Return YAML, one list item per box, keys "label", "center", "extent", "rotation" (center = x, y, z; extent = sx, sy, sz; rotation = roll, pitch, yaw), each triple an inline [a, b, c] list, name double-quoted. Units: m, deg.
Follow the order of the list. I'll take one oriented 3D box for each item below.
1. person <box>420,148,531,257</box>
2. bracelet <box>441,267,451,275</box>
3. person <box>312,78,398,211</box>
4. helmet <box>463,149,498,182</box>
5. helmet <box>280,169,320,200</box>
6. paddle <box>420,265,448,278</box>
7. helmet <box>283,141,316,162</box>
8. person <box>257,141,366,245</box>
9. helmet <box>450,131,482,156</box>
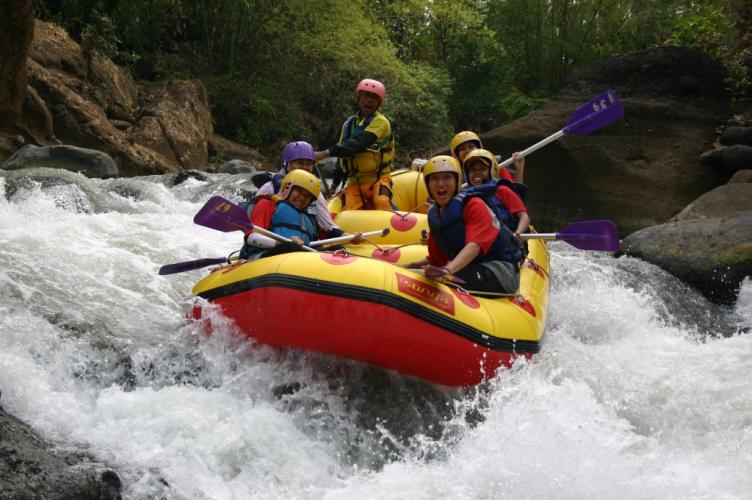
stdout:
- label: "person"
  center: [1.152, -0.605, 9.234]
  extent: [0.977, 0.605, 1.393]
  rotation: [-3, 43, 2]
- label: "bracelet"
  center: [0.729, 0.225, 8.519]
  extent: [0.093, 0.067, 0.117]
  rotation: [18, 22, 24]
- label: "person"
  center: [-0.216, -1.050, 10.910]
  extent: [1.035, 2.378, 0.937]
  rotation: [-5, -8, 23]
- label: "helmet"
  center: [1.217, -1.004, 9.487]
  extent: [0.309, 0.322, 0.432]
  rotation: [0, 4, 18]
- label: "helmet"
  center: [-0.862, -0.755, 9.346]
  extent: [0.407, 0.311, 0.310]
  rotation: [16, -7, 34]
- label: "paddle"
  center: [0.611, 0.233, 8.571]
  extent: [0.276, 0.114, 0.102]
  rotation: [4, 24, 26]
- label: "helmet"
  center: [-0.983, -1.210, 9.931]
  extent: [0.316, 0.301, 0.244]
  rotation: [-17, -9, 32]
- label: "person"
  center: [-0.877, -0.832, 9.879]
  extent: [1.023, 1.028, 1.712]
  rotation: [-6, 6, -30]
- label: "helmet"
  center: [1.135, -1.444, 10.387]
  extent: [0.324, 0.347, 0.371]
  rotation: [-15, -4, -5]
